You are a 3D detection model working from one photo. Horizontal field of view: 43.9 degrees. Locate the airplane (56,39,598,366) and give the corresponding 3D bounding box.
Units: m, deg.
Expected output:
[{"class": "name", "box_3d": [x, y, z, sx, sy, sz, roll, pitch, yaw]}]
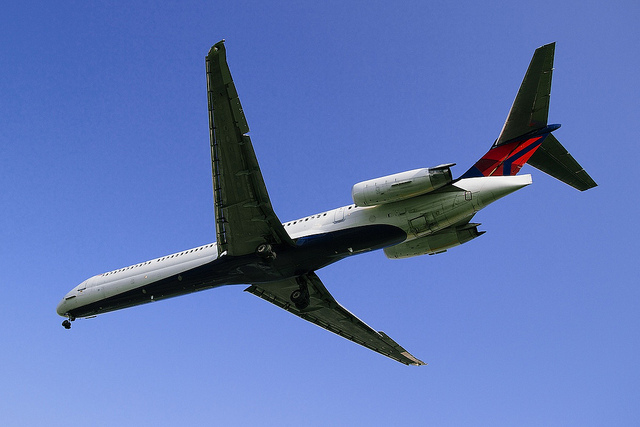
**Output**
[{"class": "airplane", "box_3d": [-0.318, 0.477, 26.543, 16.718, 3.455, 12.658, -11, -45, 20]}]
